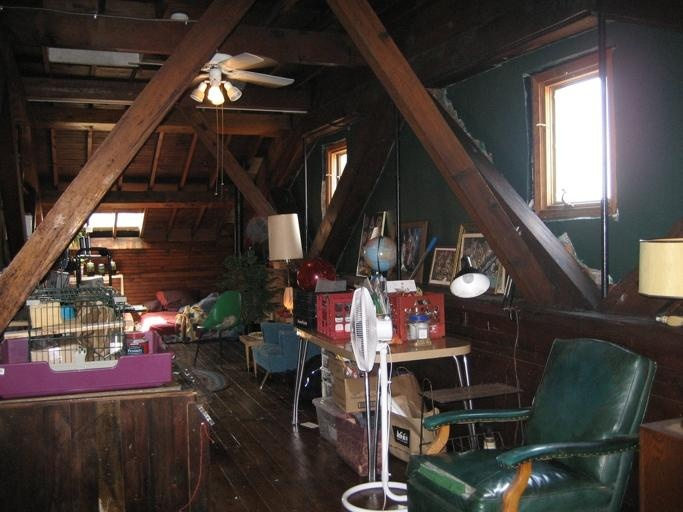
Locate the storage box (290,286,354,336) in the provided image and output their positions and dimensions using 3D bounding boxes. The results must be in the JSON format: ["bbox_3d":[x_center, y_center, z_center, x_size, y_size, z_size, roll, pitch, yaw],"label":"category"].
[{"bbox_3d":[-0.143,0.496,4.916,0.312,0.303,0.593,2,0,-22],"label":"storage box"}]

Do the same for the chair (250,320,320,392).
[{"bbox_3d":[-0.742,1.154,6.830,0.760,0.979,0.749,3,-1,-27],"label":"chair"}]

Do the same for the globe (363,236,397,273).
[{"bbox_3d":[0.366,-0.014,5.834,0.329,0.366,0.322,-1,1,-2],"label":"globe"}]

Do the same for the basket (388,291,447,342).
[{"bbox_3d":[0.597,0.475,4.685,0.374,0.341,0.375,1,-3,-17],"label":"basket"}]

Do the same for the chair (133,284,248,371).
[{"bbox_3d":[-2.290,1.240,9.178,1.332,0.646,1.468,2,0,-16],"label":"chair"}]

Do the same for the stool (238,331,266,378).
[{"bbox_3d":[-1.177,1.279,7.631,0.448,0.507,0.492,0,4,-17],"label":"stool"}]

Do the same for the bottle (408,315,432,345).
[{"bbox_3d":[0.590,0.565,4.470,0.197,0.253,0.182,0,3,0],"label":"bottle"}]

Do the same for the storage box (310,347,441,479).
[{"bbox_3d":[0.185,1.279,4.827,0.660,0.342,0.998,1,-2,-24],"label":"storage box"}]

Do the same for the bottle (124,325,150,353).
[{"bbox_3d":[-1.290,0.537,3.744,0.145,0.165,0.150,0,-1,-14],"label":"bottle"}]

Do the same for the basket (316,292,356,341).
[{"bbox_3d":[-0.076,0.457,4.916,0.300,0.423,0.535,0,0,-23],"label":"basket"}]

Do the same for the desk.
[{"bbox_3d":[0.375,0.785,4.456,1.050,1.097,1.666,0,0,-23],"label":"desk"}]

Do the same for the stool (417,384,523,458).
[{"bbox_3d":[0.926,1.183,4.150,0.604,0.427,0.322,-3,7,-26],"label":"stool"}]
